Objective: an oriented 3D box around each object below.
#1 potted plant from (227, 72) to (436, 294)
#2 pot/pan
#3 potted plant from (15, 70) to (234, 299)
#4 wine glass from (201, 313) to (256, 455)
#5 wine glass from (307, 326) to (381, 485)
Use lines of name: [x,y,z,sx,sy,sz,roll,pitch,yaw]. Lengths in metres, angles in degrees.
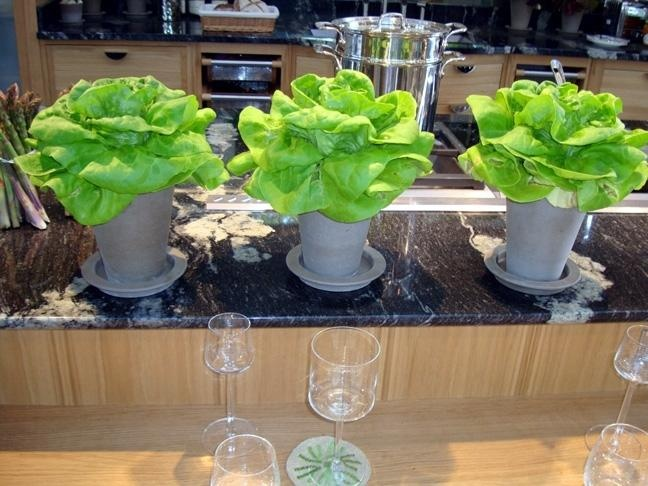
potted plant: [0.019,-0.127,0.970,0.406,0.393,0.392,0,23,-1]
pot/pan: [0.202,-0.522,1.627,0.523,0.440,0.341,8,23,10]
potted plant: [-0.299,-0.109,0.961,0.410,0.396,0.395,8,22,11]
wine glass: [-0.177,0.242,0.868,0.102,0.272,0.108,-3,30,-10]
wine glass: [0.033,0.262,0.840,0.125,0.300,0.192,5,29,4]
